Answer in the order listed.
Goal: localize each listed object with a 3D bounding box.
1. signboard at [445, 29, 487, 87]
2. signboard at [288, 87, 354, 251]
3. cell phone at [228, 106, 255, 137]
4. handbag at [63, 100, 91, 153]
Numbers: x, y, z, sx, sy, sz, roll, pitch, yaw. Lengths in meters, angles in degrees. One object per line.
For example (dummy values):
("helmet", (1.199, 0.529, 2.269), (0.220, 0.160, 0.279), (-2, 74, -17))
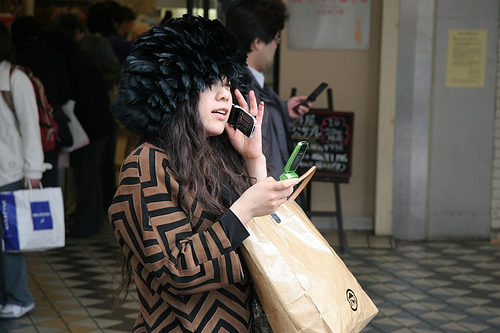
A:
("signboard", (1.186, -0.596, 3.041), (0.254, 0.402, 0.029), (4, -14, 21))
("signboard", (0.721, -0.016, 5.751), (0.679, 1.597, 0.469), (4, 21, 25))
("cell phone", (-0.040, -0.236, 2.818), (0.155, 0.096, 0.040), (41, 30, 25))
("handbag", (-1.870, -0.426, 5.957), (0.343, 0.461, 0.130), (-25, 18, -28))
